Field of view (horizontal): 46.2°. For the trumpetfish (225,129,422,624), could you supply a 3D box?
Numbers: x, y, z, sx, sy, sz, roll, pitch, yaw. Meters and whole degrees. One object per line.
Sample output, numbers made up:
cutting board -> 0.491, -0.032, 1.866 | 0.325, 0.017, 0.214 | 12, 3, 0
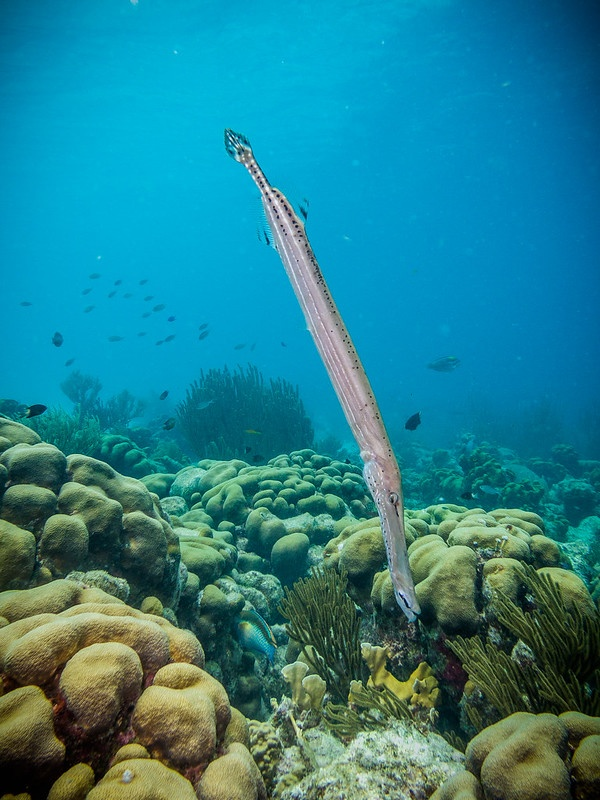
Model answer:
trumpetfish -> 0.157, -0.155, 3.922 | 0.525, 2.760, 0.346 | -13, 2, 12
